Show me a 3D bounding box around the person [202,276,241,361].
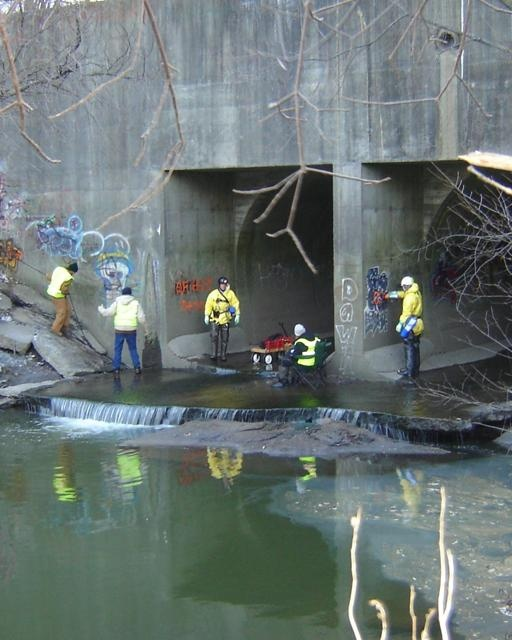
[{"bbox_3d":[-0.664,-0.025,15.418,0.653,1.747,0.635,-2,10,8],"label":"person"}]

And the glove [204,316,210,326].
[{"bbox_3d":[-0.994,0.001,15.297,0.114,0.192,0.057,-1,6,-26],"label":"glove"}]

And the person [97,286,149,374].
[{"bbox_3d":[-2.582,0.173,14.650,0.821,1.780,1.491,-6,10,-11],"label":"person"}]

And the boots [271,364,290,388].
[{"bbox_3d":[0.448,0.968,13.221,0.392,0.472,0.294,6,4,15],"label":"boots"}]

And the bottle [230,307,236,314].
[{"bbox_3d":[-0.478,-0.194,15.331,0.127,0.164,0.144,-4,10,-4],"label":"bottle"}]

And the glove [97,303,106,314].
[{"bbox_3d":[-3.122,-0.253,15.228,0.072,0.181,0.140,-22,2,-15],"label":"glove"}]

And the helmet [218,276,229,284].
[{"bbox_3d":[-0.659,-0.792,15.078,0.156,0.186,0.202,2,18,1],"label":"helmet"}]

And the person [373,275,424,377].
[{"bbox_3d":[2.645,0.089,13.727,0.766,1.841,1.074,-2,10,9],"label":"person"}]

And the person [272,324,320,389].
[{"bbox_3d":[0.688,0.622,12.733,0.759,1.098,0.356,5,13,40],"label":"person"}]

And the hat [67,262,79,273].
[{"bbox_3d":[-3.772,-1.070,15.506,0.180,0.238,0.616,-6,10,-11],"label":"hat"}]

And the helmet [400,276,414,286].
[{"bbox_3d":[2.657,-0.695,13.313,0.255,0.234,0.197,8,8,35],"label":"helmet"}]

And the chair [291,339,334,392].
[{"bbox_3d":[0.905,0.708,12.851,0.537,0.853,0.609,-5,14,-1],"label":"chair"}]

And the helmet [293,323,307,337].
[{"bbox_3d":[0.738,0.169,12.681,0.197,0.203,0.253,4,1,4],"label":"helmet"}]

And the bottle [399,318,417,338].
[{"bbox_3d":[2.691,0.113,13.245,0.122,0.401,0.101,33,50,12],"label":"bottle"}]

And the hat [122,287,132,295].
[{"bbox_3d":[-2.402,-0.552,13.926,0.141,0.126,0.200,-5,11,-33],"label":"hat"}]
